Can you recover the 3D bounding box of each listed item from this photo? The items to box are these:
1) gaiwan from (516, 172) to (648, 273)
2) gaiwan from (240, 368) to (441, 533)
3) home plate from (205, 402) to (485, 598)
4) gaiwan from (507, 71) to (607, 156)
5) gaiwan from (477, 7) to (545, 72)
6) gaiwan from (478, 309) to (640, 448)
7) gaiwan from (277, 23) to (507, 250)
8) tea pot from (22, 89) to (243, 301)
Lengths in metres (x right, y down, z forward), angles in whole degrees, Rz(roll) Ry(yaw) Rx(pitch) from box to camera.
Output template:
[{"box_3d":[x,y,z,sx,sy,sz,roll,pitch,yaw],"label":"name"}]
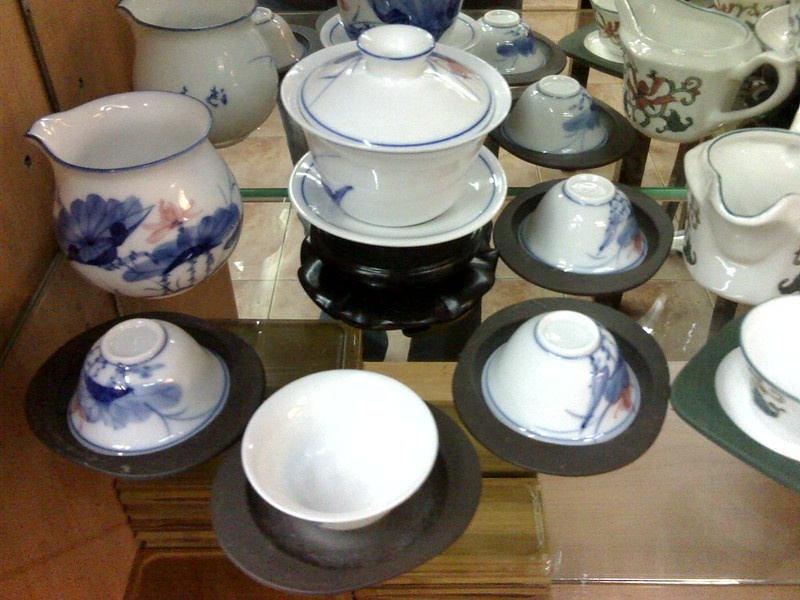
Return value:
[{"box_3d":[0.179,-0.073,0.656,0.121,0.049,0.096,-8,53,-5],"label":"gaiwan"},{"box_3d":[-0.047,0.110,0.523,0.127,0.051,0.128,23,54,7],"label":"gaiwan"},{"box_3d":[-0.036,0.153,0.525,0.207,0.026,0.126,-12,54,-8],"label":"home plate"},{"box_3d":[0.167,-0.190,0.732,0.088,0.037,0.087,-36,52,-29],"label":"gaiwan"},{"box_3d":[0.121,-0.291,0.794,0.075,0.031,0.075,-19,54,-19],"label":"gaiwan"},{"box_3d":[0.125,0.060,0.568,0.111,0.047,0.112,32,56,28],"label":"gaiwan"},{"box_3d":[-0.008,-0.134,0.583,0.165,0.133,0.166,8,44,5],"label":"gaiwan"},{"box_3d":[-0.224,-0.084,0.608,0.163,0.154,0.156,4,40,-3],"label":"tea pot"}]
